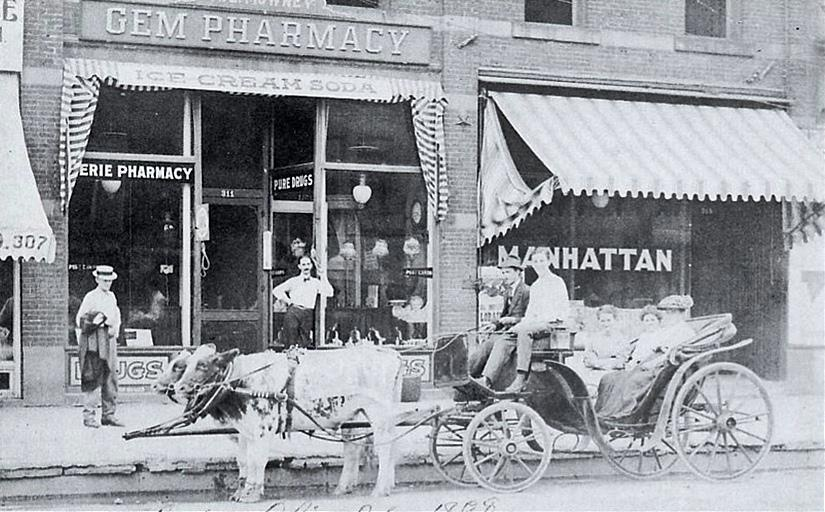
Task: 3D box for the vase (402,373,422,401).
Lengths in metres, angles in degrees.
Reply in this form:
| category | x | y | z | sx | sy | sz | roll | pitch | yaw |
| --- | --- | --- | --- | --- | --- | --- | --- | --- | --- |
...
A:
| category | x | y | z | sx | sy | sz | roll | pitch | yaw |
| --- | --- | --- | --- | --- | --- | --- | --- | --- | --- |
| vase | -0.040 | 2.279 | 34.292 | 0.270 | 0.416 | 0.439 | -1 | -4 | 8 |

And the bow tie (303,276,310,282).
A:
| category | x | y | z | sx | sy | sz | roll | pitch | yaw |
| --- | --- | --- | --- | --- | --- | --- | --- | --- | --- |
| bow tie | -1.946 | 0.399 | 35.447 | 0.095 | 0.072 | 0.126 | -3 | -6 | -3 |

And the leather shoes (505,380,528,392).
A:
| category | x | y | z | sx | sy | sz | roll | pitch | yaw |
| --- | --- | --- | --- | --- | --- | --- | --- | --- | --- |
| leather shoes | 1.766 | 2.161 | 32.904 | 0.338 | 0.137 | 0.170 | 0 | -1 | -8 |

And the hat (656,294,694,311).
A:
| category | x | y | z | sx | sy | sz | roll | pitch | yaw |
| --- | --- | --- | --- | --- | --- | --- | --- | --- | --- |
| hat | 4.479 | 0.801 | 33.551 | 0.456 | 0.183 | 0.366 | -6 | -10 | 37 |

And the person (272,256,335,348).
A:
| category | x | y | z | sx | sy | sz | roll | pitch | yaw |
| --- | --- | --- | --- | --- | --- | --- | --- | --- | --- |
| person | -2.033 | 0.837 | 35.657 | 0.966 | 1.558 | 1.225 | 0 | -4 | 1 |

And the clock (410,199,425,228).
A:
| category | x | y | z | sx | sy | sz | roll | pitch | yaw |
| --- | --- | --- | --- | --- | --- | --- | --- | --- | --- |
| clock | 0.089 | -0.772 | 36.668 | 0.476 | 0.517 | 0.112 | 2 | 2 | 5 |
